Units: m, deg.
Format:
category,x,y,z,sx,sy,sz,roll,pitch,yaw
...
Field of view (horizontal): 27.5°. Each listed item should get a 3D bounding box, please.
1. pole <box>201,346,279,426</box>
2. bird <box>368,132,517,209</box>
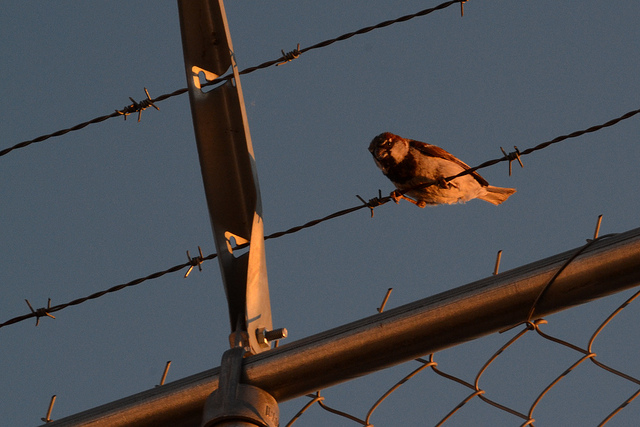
category,x,y,z,sx,sy,sz,roll,pitch,yaw
pole,-0.232,0.530,3.949,0.229,0.208,0.216,5,-83,-6
bird,0.601,-0.308,7.419,0.325,0.947,0.392,-11,-92,39
